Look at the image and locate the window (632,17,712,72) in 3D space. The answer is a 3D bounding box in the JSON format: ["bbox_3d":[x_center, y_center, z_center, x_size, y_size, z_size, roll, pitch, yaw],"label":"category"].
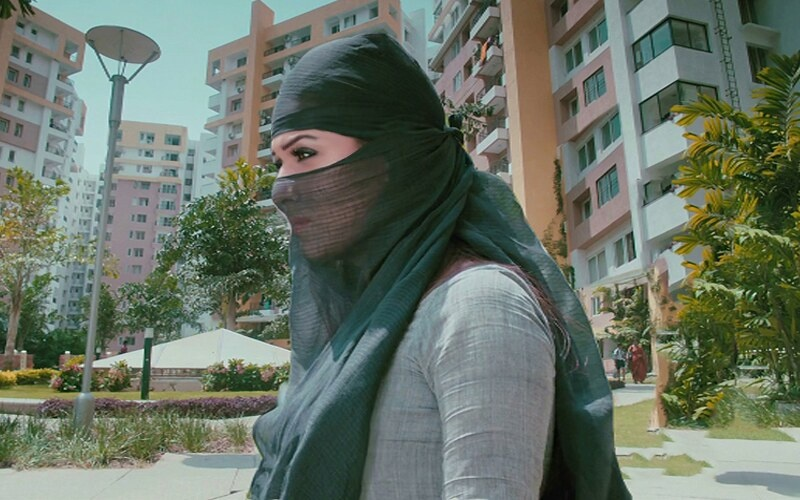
[{"bbox_3d":[10.219,-8.063,24.417,1.852,1.112,1.821,-4,-11,-20],"label":"window"}]

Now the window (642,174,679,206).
[{"bbox_3d":[9.808,-2.345,23.660,0.709,1.078,1.460,5,-18,-19],"label":"window"}]
